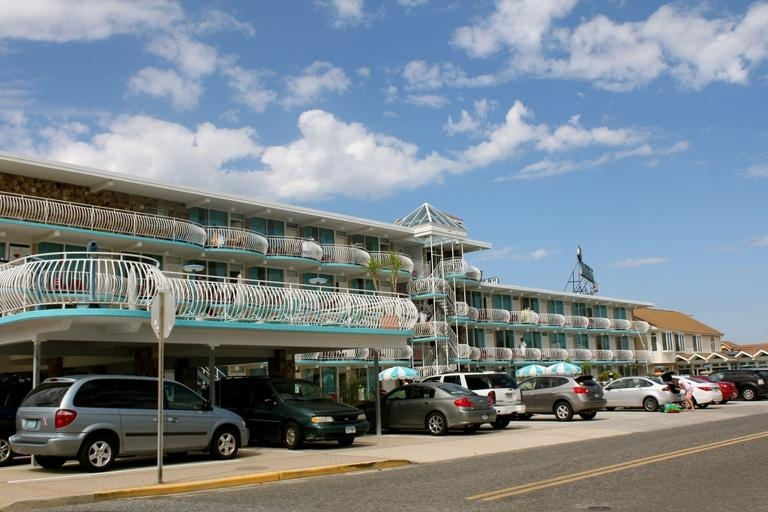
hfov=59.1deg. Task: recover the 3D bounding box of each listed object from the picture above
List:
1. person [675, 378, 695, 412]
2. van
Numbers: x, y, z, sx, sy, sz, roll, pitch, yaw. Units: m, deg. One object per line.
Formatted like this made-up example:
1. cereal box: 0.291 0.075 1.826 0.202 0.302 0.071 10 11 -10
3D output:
1. person: 15.258 7.085 34.370 0.686 0.545 1.656 -10 17 5
2. van: -6.614 4.208 17.916 5.288 1.546 2.592 4 -9 -39
